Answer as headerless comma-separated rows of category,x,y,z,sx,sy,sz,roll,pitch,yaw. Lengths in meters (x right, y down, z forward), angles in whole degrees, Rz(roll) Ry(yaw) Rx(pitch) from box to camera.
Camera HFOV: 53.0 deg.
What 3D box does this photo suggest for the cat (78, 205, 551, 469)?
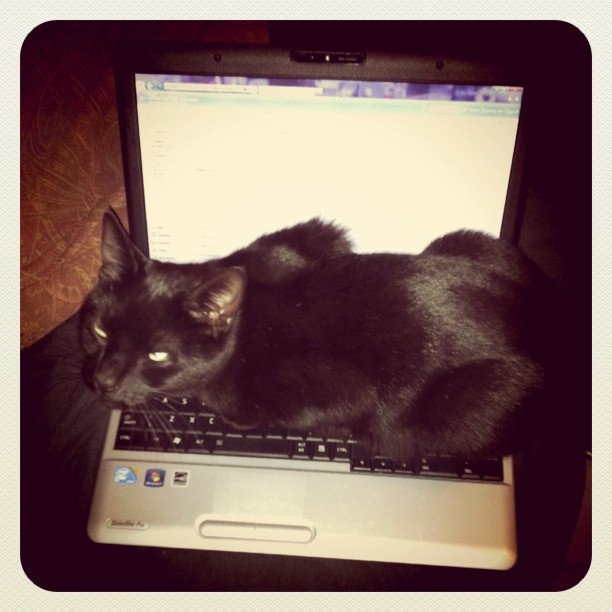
cat,0.033,0.089,0.975,0.535,0.292,0.414,-5,71,0
